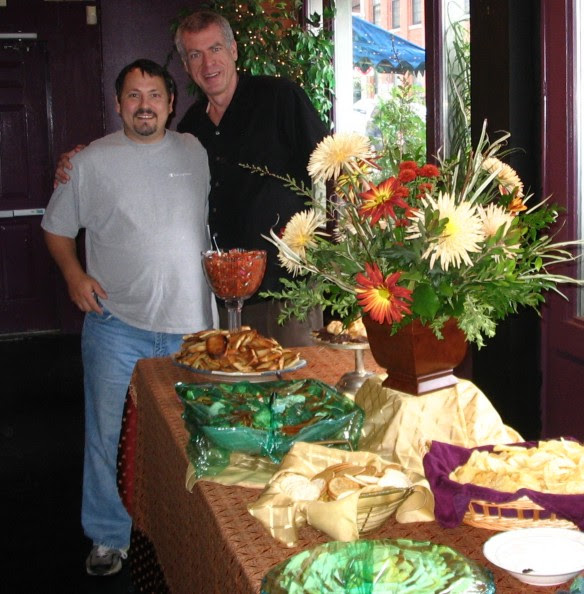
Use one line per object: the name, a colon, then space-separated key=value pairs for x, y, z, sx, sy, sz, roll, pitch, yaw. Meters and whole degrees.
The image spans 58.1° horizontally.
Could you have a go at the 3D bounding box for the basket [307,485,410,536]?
basket: x=0.077 y=0.210 z=0.565 sx=0.073 sy=0.031 sz=0.058 roll=-3 pitch=0 yaw=-39

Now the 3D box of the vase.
vase: x=0.192 y=0.081 z=0.837 sx=0.128 sy=0.108 sz=0.143 roll=-1 pitch=9 yaw=-12
